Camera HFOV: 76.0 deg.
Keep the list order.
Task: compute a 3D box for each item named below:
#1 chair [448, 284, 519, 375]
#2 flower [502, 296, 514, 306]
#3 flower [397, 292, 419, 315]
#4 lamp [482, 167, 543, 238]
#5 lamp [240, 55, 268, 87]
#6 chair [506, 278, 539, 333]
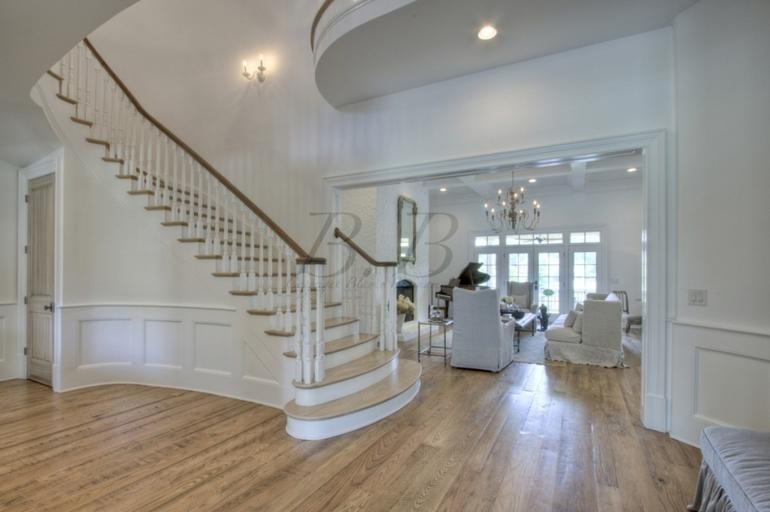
[{"bbox_3d":[1.510,1.059,7.634,0.819,1.229,0.895,2,6,29],"label":"chair"},{"bbox_3d":[2.407,0.873,9.702,0.183,0.197,0.191,-1,-1,17],"label":"flower"},{"bbox_3d":[0.366,0.905,8.898,0.303,0.317,0.535,1,14,0],"label":"flower"},{"bbox_3d":[3.052,-1.192,11.116,1.172,1.711,1.213,0,-5,-2],"label":"lamp"},{"bbox_3d":[-1.952,-2.793,7.403,0.464,0.398,0.250,9,3,44],"label":"lamp"},{"bbox_3d":[2.963,1.084,10.827,0.684,1.151,0.692,3,-8,7],"label":"chair"}]
